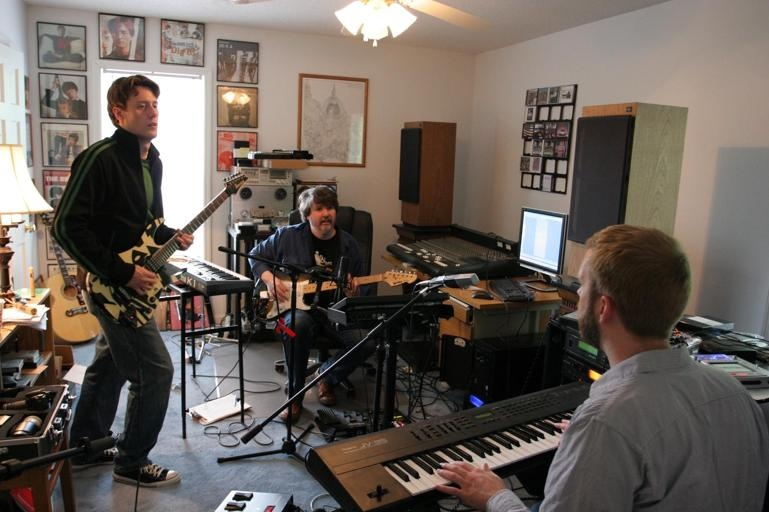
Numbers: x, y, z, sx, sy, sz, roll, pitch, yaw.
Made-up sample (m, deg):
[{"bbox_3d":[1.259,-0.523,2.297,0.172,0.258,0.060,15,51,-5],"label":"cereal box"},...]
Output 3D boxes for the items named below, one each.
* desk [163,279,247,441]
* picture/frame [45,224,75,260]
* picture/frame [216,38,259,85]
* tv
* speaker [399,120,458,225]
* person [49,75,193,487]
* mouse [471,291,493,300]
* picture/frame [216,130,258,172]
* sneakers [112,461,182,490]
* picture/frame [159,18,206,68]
[{"bbox_3d":[-1.327,0.795,4.139,0.388,0.773,1.060,0,2,-21],"label":"desk"},{"bbox_3d":[-2.122,-0.094,3.648,0.129,0.070,0.305,-6,23,-38],"label":"picture/frame"},{"bbox_3d":[-1.433,-1.897,5.387,0.467,0.436,0.032,0,6,-22],"label":"picture/frame"},{"bbox_3d":[1.230,-0.034,4.357,0.227,0.617,0.622,1,4,-20],"label":"tv"},{"bbox_3d":[0.415,-0.830,5.667,0.563,1.034,0.362,2,10,7],"label":"speaker"},{"bbox_3d":[-1.429,0.174,3.100,0.667,2.309,0.496,-6,12,-30],"label":"person"},{"bbox_3d":[0.688,0.276,3.915,0.097,0.030,0.055,-2,15,-4],"label":"mouse"},{"bbox_3d":[-1.456,-1.018,5.443,0.473,0.459,0.017,-1,7,-21],"label":"picture/frame"},{"bbox_3d":[-1.358,1.259,3.277,0.398,0.154,0.159,1,5,-14],"label":"sneakers"},{"bbox_3d":[-1.907,-2.010,5.232,0.444,0.423,0.031,0,5,-21],"label":"picture/frame"}]
